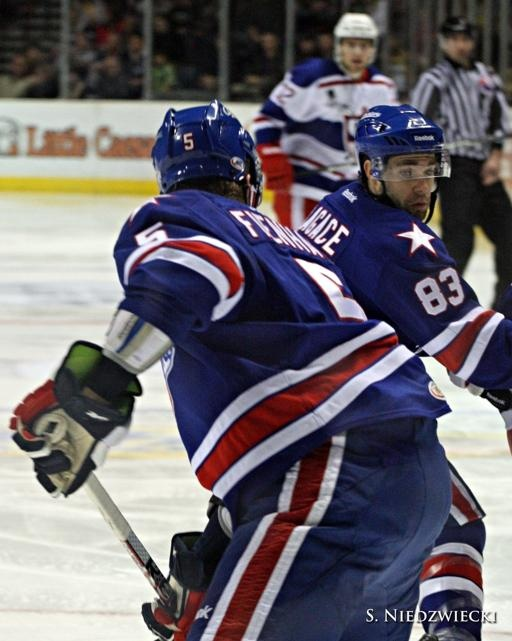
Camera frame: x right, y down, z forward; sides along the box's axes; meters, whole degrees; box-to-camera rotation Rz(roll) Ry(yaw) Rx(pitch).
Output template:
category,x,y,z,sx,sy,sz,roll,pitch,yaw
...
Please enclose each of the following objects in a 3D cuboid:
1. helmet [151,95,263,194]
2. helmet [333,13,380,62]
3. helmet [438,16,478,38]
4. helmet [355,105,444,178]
category,x,y,z,sx,sy,sz,roll,pitch,yaw
helmet,-0.078,-0.285,1.552,0.169,0.137,0.185,-3,6,17
helmet,0.638,-1.677,5.488,0.316,0.286,0.344,-1,5,-5
helmet,1.298,-1.888,6.084,0.220,0.158,0.282,3,9,11
helmet,0.248,-0.346,1.845,0.151,0.147,0.188,-5,6,-36
